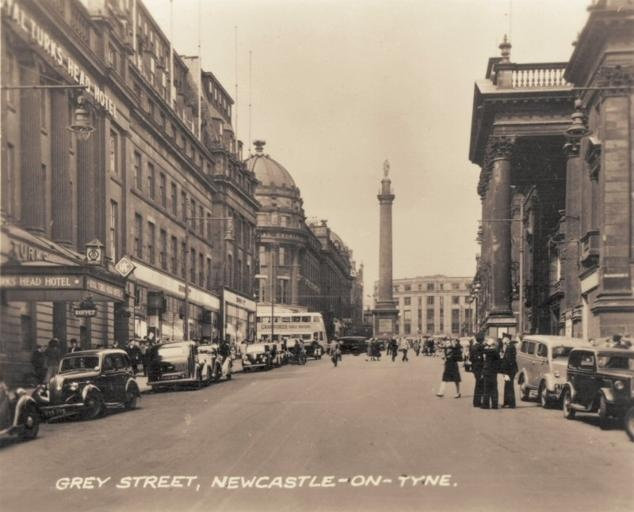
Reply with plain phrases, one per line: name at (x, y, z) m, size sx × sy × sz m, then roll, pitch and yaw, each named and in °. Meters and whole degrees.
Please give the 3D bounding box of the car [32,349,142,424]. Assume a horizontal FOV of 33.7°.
car at (-6.986, 3.897, 32.520) m, size 1.913 × 2.067 × 5.184 m, roll -6°, pitch -3°, yaw 13°

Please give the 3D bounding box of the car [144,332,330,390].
car at (-4.694, 4.640, 43.310) m, size 1.968 × 1.710 × 5.877 m, roll -5°, pitch -2°, yaw 27°

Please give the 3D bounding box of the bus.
bus at (-2.301, 6.270, 86.761) m, size 7.295 × 4.571 × 2.816 m, roll -3°, pitch -4°, yaw 22°
